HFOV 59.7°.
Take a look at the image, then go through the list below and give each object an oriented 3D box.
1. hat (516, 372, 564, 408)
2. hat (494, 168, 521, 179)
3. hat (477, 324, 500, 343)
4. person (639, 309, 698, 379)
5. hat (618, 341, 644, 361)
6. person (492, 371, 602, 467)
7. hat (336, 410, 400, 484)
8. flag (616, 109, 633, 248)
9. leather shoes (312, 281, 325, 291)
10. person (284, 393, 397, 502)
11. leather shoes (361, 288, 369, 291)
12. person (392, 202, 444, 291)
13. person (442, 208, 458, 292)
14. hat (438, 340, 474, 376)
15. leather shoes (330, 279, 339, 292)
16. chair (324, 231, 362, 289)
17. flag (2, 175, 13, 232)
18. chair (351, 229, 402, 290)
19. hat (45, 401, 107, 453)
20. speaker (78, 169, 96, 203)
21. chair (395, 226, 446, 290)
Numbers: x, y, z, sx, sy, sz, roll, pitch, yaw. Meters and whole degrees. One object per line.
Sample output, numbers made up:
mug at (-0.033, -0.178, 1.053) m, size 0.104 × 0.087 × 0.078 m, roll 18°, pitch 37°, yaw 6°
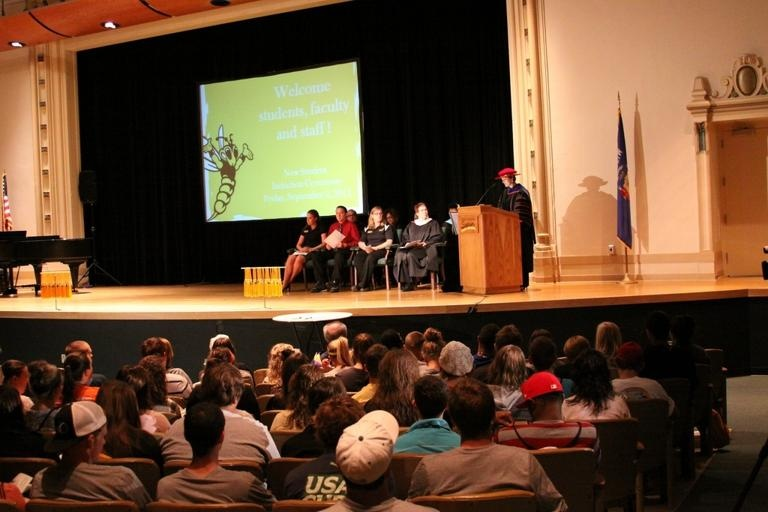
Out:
hat at (1.039, 0.913, 4.488) m, size 0.353 × 0.272 × 0.509 m, roll 1°, pitch -3°, yaw 14°
hat at (1.906, -1.260, 10.139) m, size 0.280 × 0.107 × 0.288 m, roll -11°, pitch 10°, yaw -37°
hat at (1.005, 0.760, 6.367) m, size 0.148 × 0.185 × 0.180 m, roll 2°, pitch 36°, yaw 5°
person at (2.597, 0.917, 6.189) m, size 0.463 × 0.732 × 0.432 m, roll -7°, pitch 0°, yaw 20°
hat at (2.025, 0.789, 5.483) m, size 0.127 × 0.110 × 0.173 m, roll 9°, pitch 14°, yaw 34°
person at (1.015, 1.078, 4.566) m, size 0.669 × 0.538 × 1.162 m, roll 0°, pitch -2°, yaw -1°
hat at (-0.111, 0.993, 3.612) m, size 0.324 × 0.160 × 0.527 m, roll 2°, pitch 28°, yaw 14°
flag at (3.716, -1.191, 10.449) m, size 0.235 × 2.114 × 0.413 m, roll -4°, pitch -1°, yaw 20°
leather shoes at (-1.090, 0.535, 11.241) m, size 0.226 × 0.133 × 0.246 m, roll -3°, pitch -1°, yaw -13°
person at (-0.330, 1.221, 4.149) m, size 0.438 × 0.262 × 0.748 m, roll -3°, pitch 45°, yaw 17°
leather shoes at (-0.306, 0.547, 10.875) m, size 0.052 × 0.041 × 0.223 m, roll -4°, pitch 0°, yaw 17°
person at (0.498, -0.147, 10.454) m, size 0.760 × 1.368 × 0.712 m, roll -5°, pitch -9°, yaw 41°
person at (0.982, -0.069, 9.942) m, size 0.244 × 1.080 × 0.814 m, roll -3°, pitch -1°, yaw -4°
hat at (0.574, 0.788, 5.378) m, size 0.284 × 0.119 × 0.354 m, roll -4°, pitch 44°, yaw -4°
leather shoes at (-0.808, 0.500, 10.947) m, size 0.171 × 0.196 × 0.424 m, roll -1°, pitch -3°, yaw -1°
chair at (-0.770, -0.140, 11.191) m, size 0.518 × 1.125 × 0.645 m, roll 12°, pitch 30°, yaw 12°
flag at (-8.376, -1.210, 14.821) m, size 0.200 × 1.348 × 1.033 m, roll -2°, pitch -1°, yaw -28°
chair at (-0.210, -0.136, 10.948) m, size 0.566 × 1.384 × 0.766 m, roll -1°, pitch -2°, yaw 34°
hat at (-1.851, 1.019, 4.074) m, size 0.217 × 0.184 × 0.348 m, roll 2°, pitch 23°, yaw 11°
speaker at (-6.672, -1.549, 14.953) m, size 0.481 × 0.726 × 0.246 m, roll -4°, pitch -1°, yaw 27°
chair at (0.523, -0.075, 10.521) m, size 0.720 × 1.031 × 0.554 m, roll -4°, pitch -9°, yaw 35°
